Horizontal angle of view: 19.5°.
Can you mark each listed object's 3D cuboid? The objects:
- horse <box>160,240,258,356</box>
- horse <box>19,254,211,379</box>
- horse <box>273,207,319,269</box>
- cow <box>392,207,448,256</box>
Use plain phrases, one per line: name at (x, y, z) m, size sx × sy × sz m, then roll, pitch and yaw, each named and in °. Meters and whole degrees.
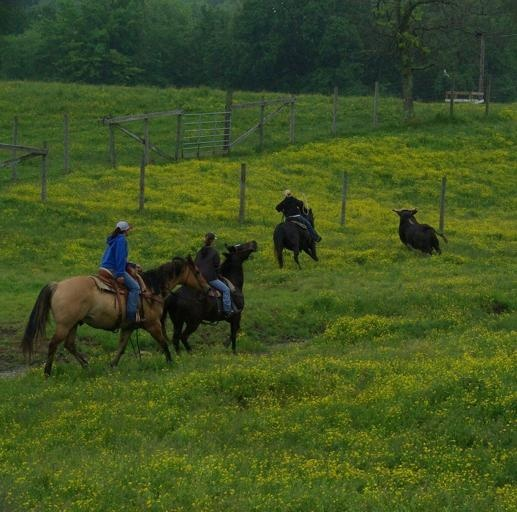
horse at (-2.138, 2.067, 65.827) m, size 5.327 × 4.926 × 1.585 m, roll -5°, pitch -1°, yaw -34°
horse at (-6.082, 2.590, 63.939) m, size 7.737 × 5.633 × 1.965 m, roll -1°, pitch 12°, yaw -16°
horse at (1.671, -0.717, 72.693) m, size 1.070 × 2.867 × 3.820 m, roll -4°, pitch 7°, yaw 29°
cow at (8.054, -1.182, 75.024) m, size 1.470 × 2.199 × 2.734 m, roll -6°, pitch 8°, yaw -44°
